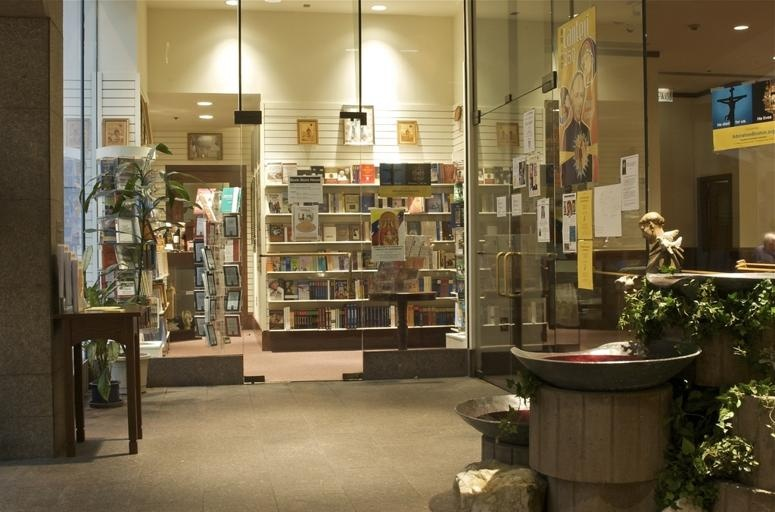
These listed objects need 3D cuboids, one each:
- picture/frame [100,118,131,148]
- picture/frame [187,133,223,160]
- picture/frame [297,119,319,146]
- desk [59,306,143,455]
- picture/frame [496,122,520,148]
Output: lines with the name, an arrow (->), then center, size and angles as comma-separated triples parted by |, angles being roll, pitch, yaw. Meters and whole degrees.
picture/frame -> -3.130, -1.415, 8.026 | 0.382, 0.425, 0.032 | 0, -1, -11
picture/frame -> -2.161, -1.301, 8.329 | 0.340, 0.282, 0.047 | -1, -9, 4
picture/frame -> -0.973, -1.512, 8.454 | 0.320, 0.370, 0.053 | -1, 6, -3
desk -> -2.492, 1.051, 6.098 | 0.663, 1.198, 0.722 | -2, 5, -18
picture/frame -> 1.340, -1.345, 7.720 | 0.038, 0.312, 0.330 | -4, 7, -29
